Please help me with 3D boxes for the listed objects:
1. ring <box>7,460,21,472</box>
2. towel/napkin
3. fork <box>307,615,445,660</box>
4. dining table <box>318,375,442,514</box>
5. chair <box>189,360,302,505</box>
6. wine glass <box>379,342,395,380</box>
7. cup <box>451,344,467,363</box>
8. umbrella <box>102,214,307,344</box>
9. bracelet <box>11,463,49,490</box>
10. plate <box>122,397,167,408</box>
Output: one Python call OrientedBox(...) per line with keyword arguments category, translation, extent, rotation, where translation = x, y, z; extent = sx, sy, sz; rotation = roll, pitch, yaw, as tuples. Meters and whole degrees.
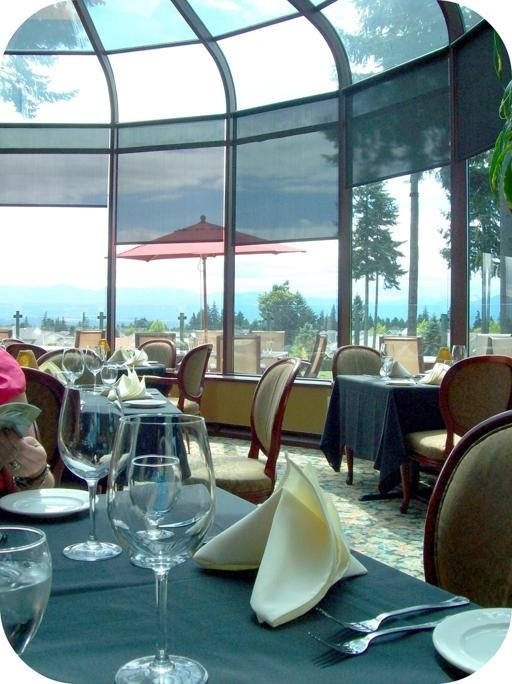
OrientedBox(category="ring", translation=(-0.439, 0.226, 0.942), extent=(0.024, 0.023, 0.008), rotation=(4, -8, -21))
OrientedBox(category="towel/napkin", translation=(0.039, 0.224, 0.605), extent=(0.210, 0.127, 0.138), rotation=(-18, 17, -35))
OrientedBox(category="fork", translation=(0.112, 0.270, 0.481), extent=(0.119, 0.015, 0.041), rotation=(-3, 3, -27))
OrientedBox(category="dining table", translation=(1.016, 0.631, 3.638), extent=(0.942, 0.765, 0.957), rotation=(-3, 5, -35))
OrientedBox(category="chair", translation=(-0.091, 0.460, 2.156), extent=(0.515, 0.732, 0.484), rotation=(1, 0, 12))
OrientedBox(category="wine glass", translation=(0.923, 0.134, 3.639), extent=(0.090, 0.239, 0.192), rotation=(-1, 3, 15))
OrientedBox(category="cup", translation=(1.337, 0.078, 3.416), extent=(0.100, 0.136, 0.098), rotation=(1, -6, 0))
OrientedBox(category="umbrella", translation=(-0.383, -0.712, 6.286), extent=(1.632, 1.265, 1.693), rotation=(-1, 1, -43))
OrientedBox(category="bracelet", translation=(-0.459, 0.277, 1.051), extent=(0.049, 0.060, 0.055), rotation=(-1, 18, -8))
OrientedBox(category="plate", translation=(-0.503, 0.273, 2.329), extent=(0.183, 0.030, 0.300), rotation=(-2, 3, -14))
